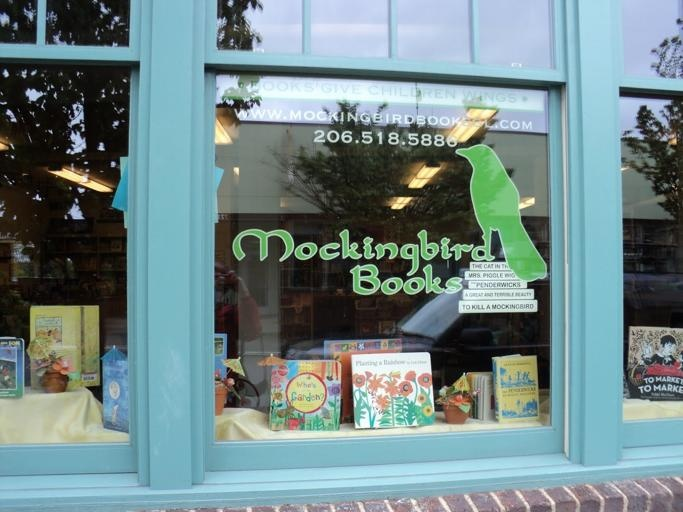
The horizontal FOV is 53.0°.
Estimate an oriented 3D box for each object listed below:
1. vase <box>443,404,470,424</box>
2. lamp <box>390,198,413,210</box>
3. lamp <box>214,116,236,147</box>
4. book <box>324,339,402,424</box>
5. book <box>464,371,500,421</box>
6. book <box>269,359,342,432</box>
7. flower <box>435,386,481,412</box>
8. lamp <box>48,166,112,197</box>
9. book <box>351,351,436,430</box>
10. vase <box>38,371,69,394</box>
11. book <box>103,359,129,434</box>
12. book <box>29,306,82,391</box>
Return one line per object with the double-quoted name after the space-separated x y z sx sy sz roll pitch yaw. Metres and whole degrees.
0.856 1.202 5.205 0.145 0.097 0.147 2 -3 -9 "vase"
0.449 -0.402 5.214 0.115 0.110 0.027 2 -8 -3 "lamp"
-0.870 -0.908 5.014 0.143 0.199 0.032 -2 0 -40 "lamp"
0.135 0.970 5.141 0.582 0.584 0.080 0 -3 -2 "book"
1.111 1.006 5.366 0.254 0.467 0.477 0 -3 13 "book"
-0.281 1.063 5.243 0.544 0.498 0.524 -2 -1 -9 "book"
0.861 1.073 5.131 0.212 0.105 0.218 0 -2 3 "flower"
-2.102 -0.597 5.526 0.893 0.144 0.073 15 23 40 "lamp"
0.383 1.009 5.143 0.588 0.551 0.196 -2 0 2 "book"
-2.143 0.934 5.082 0.150 0.154 0.159 -2 -5 32 "vase"
-1.656 1.019 4.984 0.258 0.536 0.099 -2 0 18 "book"
-2.141 0.692 5.193 0.414 0.728 0.042 -1 29 -29 "book"
